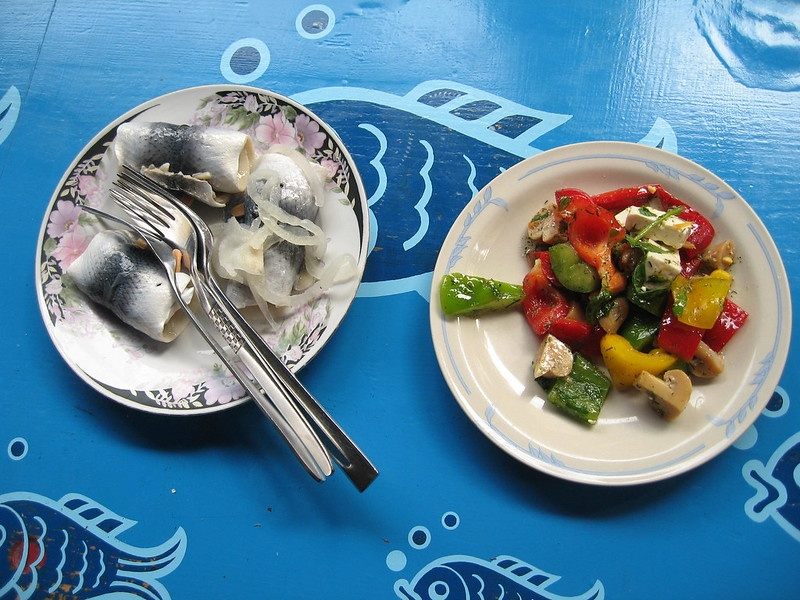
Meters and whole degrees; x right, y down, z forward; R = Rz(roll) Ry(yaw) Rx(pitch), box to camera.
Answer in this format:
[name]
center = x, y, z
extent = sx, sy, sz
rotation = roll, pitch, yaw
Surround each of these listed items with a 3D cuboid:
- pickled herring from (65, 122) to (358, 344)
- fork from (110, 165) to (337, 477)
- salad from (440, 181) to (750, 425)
[pickled herring]
center = -0.455, -0.156, 1.537
extent = 0.503, 0.161, 0.475
rotation = 19, 88, 4
[fork]
center = -0.419, 0.047, 1.608
extent = 0.096, 0.098, 0.838
rotation = -13, 67, -56
[salad]
center = 0.456, -0.037, 1.598
extent = 0.635, 0.167, 0.605
rotation = 13, 74, 13
